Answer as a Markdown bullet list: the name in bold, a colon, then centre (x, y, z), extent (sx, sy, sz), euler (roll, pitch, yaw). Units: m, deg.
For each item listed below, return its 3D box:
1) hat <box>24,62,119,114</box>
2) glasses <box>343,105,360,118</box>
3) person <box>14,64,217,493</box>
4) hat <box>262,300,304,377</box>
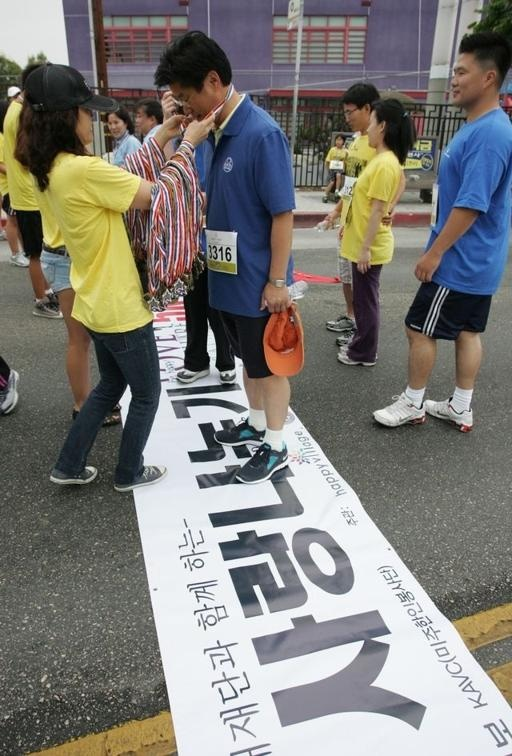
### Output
- **hat**: centre (-0.637, -1.018, 1.918), extent (0.342, 0.152, 0.218), euler (-9, 30, -12)
- **glasses**: centre (0.692, -1.910, 3.959), extent (0.122, 0.066, 0.092), euler (6, 10, -7)
- **person**: centre (-0.549, -0.257, 2.201), extent (0.751, 1.750, 0.376), euler (0, 25, -2)
- **hat**: centre (0.127, -0.178, 2.475), extent (0.207, 0.295, 0.165), euler (-4, -14, 3)
